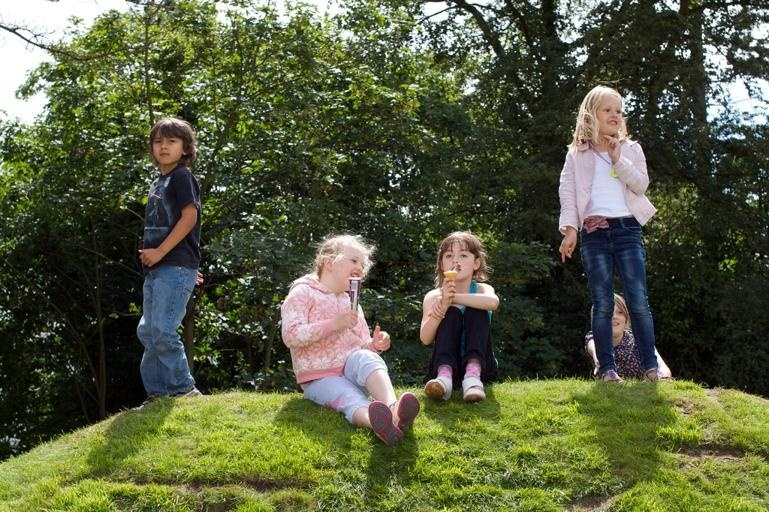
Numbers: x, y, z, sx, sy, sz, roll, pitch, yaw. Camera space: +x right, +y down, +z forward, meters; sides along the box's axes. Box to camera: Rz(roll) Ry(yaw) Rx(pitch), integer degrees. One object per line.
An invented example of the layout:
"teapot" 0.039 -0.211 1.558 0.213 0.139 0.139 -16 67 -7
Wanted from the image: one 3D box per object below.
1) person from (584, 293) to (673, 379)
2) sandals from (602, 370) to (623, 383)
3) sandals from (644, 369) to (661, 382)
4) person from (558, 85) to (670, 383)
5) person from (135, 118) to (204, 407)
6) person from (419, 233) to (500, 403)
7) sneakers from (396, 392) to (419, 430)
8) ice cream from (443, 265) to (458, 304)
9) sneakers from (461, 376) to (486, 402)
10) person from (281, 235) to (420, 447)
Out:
"person" 3.158 1.333 10.213 0.829 1.381 0.593 -20 10 24
"sandals" 2.854 1.495 9.519 0.122 0.093 0.232 3 -13 -20
"sandals" 3.342 1.470 9.565 0.206 0.130 0.139 -6 -9 17
"person" 2.834 -0.324 9.696 1.170 3.777 0.621 -5 -8 11
"person" -2.709 0.008 9.604 0.804 3.552 0.667 -2 -8 -11
"person" 0.910 0.710 9.367 0.964 2.098 0.811 -4 -8 2
"sneakers" 0.235 1.691 8.555 0.192 0.448 0.185 7 5 -21
"ice cream" 0.789 0.361 9.179 0.140 0.394 0.335 -4 -8 0
"sneakers" 1.060 1.581 9.133 0.266 0.292 0.255 -5 -8 6
"person" -0.424 0.932 9.034 1.457 2.473 0.813 -8 -9 27
